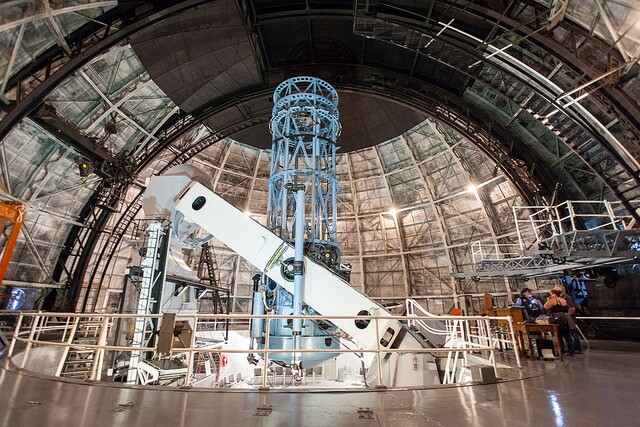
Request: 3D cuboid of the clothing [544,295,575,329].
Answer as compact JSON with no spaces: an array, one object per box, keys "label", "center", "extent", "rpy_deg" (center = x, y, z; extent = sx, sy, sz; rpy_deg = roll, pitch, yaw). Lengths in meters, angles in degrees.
[{"label":"clothing","center":[10.257,4.262,14.541],"extent":[1.161,1.287,0.940],"rpy_deg":[11,-20,-34]}]
